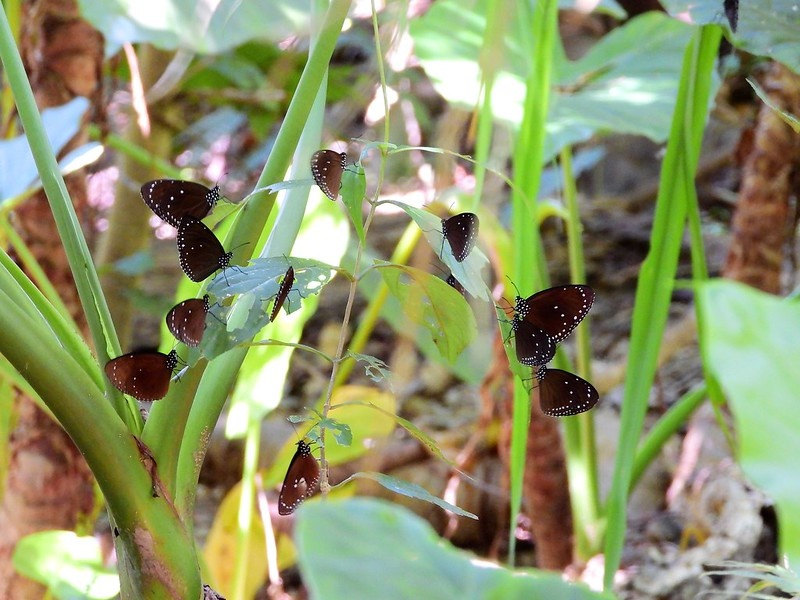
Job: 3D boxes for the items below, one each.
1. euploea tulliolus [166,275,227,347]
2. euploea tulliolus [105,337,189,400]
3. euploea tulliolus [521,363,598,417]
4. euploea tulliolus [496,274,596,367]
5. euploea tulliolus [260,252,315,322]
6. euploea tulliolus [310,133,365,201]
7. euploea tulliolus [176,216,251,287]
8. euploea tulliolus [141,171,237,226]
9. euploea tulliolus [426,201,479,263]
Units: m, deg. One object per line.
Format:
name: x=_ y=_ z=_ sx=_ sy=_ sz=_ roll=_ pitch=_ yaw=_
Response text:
euploea tulliolus: x=-0.150 y=0.015 z=0.654 sx=0.041 sy=0.033 sz=0.039 roll=-13 pitch=31 yaw=-35
euploea tulliolus: x=-0.196 y=0.057 z=0.677 sx=0.042 sy=0.051 sz=0.026 roll=-40 pitch=37 yaw=7
euploea tulliolus: x=0.128 y=0.078 z=0.698 sx=0.040 sy=0.021 sz=0.050 roll=37 pitch=71 yaw=16
euploea tulliolus: x=0.113 y=0.012 z=0.695 sx=0.057 sy=0.086 sz=0.025 roll=48 pitch=34 yaw=14
euploea tulliolus: x=-0.084 y=-0.005 z=0.628 sx=0.022 sy=0.045 sz=0.012 roll=30 pitch=43 yaw=5
euploea tulliolus: x=-0.057 y=-0.100 z=0.677 sx=0.024 sy=0.048 sz=0.048 roll=-2 pitch=11 yaw=35
euploea tulliolus: x=-0.143 y=-0.046 z=0.696 sx=0.044 sy=0.059 sz=0.031 roll=-40 pitch=43 yaw=-7
euploea tulliolus: x=-0.175 y=-0.076 z=0.694 sx=0.045 sy=0.029 sz=0.049 roll=-6 pitch=-9 yaw=-2
euploea tulliolus: x=0.045 y=-0.045 z=0.653 sx=0.032 sy=0.036 sz=0.028 roll=-1 pitch=26 yaw=-15
